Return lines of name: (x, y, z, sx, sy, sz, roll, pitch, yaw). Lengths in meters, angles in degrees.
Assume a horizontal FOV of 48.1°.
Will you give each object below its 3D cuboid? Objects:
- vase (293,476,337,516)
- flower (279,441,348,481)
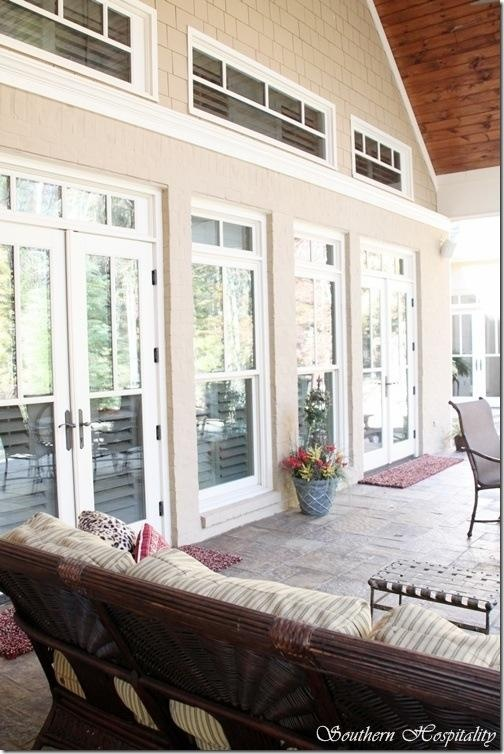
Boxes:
vase: (0.555, 1.020, 4.872, 0.337, 0.261, 0.335, 0, -9, 1)
flower: (0.556, 0.698, 5.033, 0.373, 0.249, 0.390, 2, -2, -1)
